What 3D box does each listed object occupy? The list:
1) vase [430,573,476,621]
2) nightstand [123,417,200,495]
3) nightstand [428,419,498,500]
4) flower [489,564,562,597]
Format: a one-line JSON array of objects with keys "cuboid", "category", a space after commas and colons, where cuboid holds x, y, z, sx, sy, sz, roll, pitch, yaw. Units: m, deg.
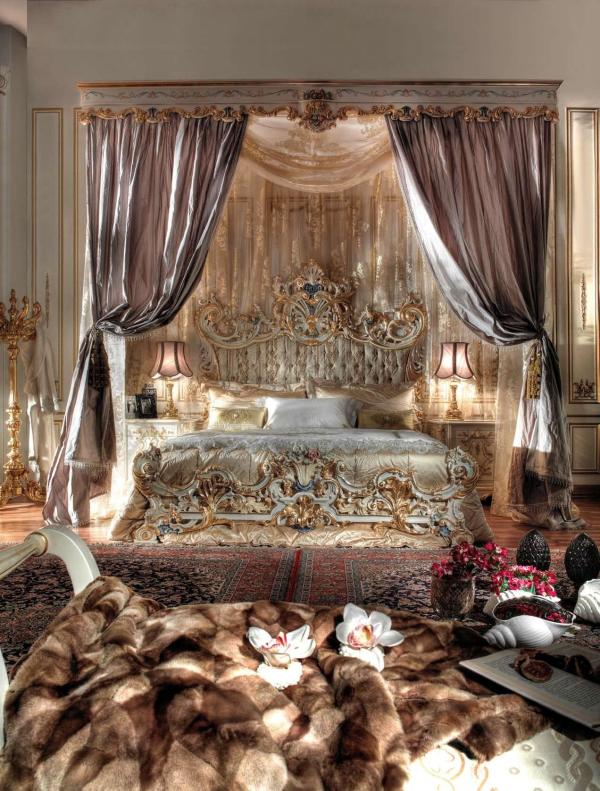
[{"cuboid": [0.438, 0.579, 1.741, 0.125, 0.135, 0.126, 1, -1, 4], "category": "vase"}, {"cuboid": [-1.051, 0.437, 4.270, 0.578, 0.792, 0.427, 0, -4, -5], "category": "nightstand"}, {"cuboid": [1.082, 0.432, 3.861, 0.618, 0.617, 0.365, 0, -2, 1], "category": "nightstand"}, {"cuboid": [0.628, 0.515, 1.632, 0.110, 0.042, 0.112, 1, 1, -7], "category": "flower"}]
